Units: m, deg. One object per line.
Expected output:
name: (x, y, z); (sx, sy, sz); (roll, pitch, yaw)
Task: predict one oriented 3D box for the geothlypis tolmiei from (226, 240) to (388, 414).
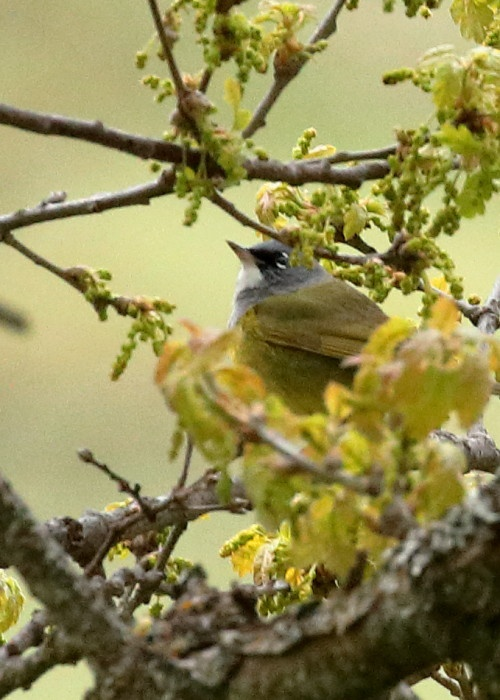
geothlypis tolmiei: (0.220, -0.061, 2.806); (0.532, 0.427, 0.290); (-1, 4, -3)
